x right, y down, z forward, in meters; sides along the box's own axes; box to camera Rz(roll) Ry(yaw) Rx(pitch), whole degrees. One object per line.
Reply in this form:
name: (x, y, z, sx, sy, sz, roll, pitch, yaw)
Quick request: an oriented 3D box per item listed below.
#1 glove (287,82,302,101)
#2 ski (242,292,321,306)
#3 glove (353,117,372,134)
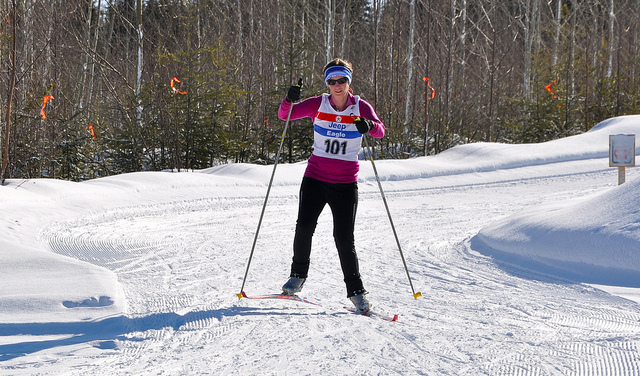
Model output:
glove: (-0.627, -2.265, 15.207, 0.304, 0.415, 0.202, 1, 3, -2)
ski: (-0.929, 2.594, 15.217, 1.882, 0.254, 0.184, 1, -34, 4)
glove: (0.957, -1.431, 14.863, 0.417, 0.356, 0.169, 1, 3, 2)
